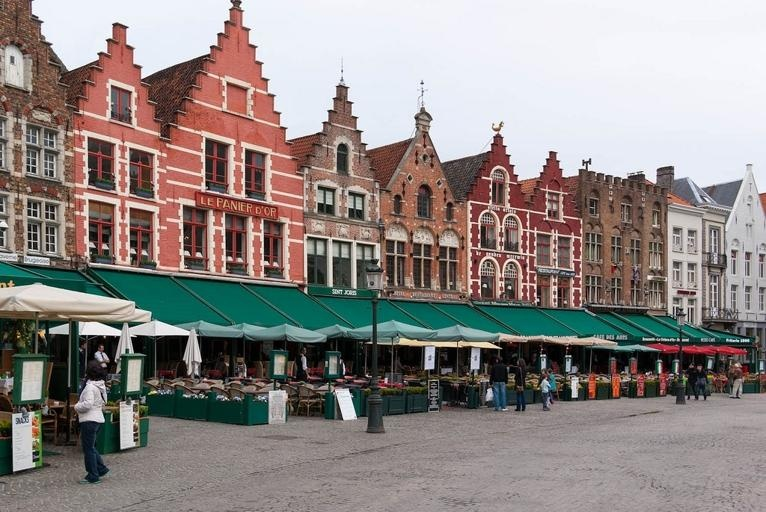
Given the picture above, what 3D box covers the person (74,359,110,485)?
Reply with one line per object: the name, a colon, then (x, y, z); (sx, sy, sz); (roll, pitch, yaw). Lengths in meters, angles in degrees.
person: (-8.462, 4.822, 34.312); (0.874, 3.417, 0.946); (1, 4, -6)
